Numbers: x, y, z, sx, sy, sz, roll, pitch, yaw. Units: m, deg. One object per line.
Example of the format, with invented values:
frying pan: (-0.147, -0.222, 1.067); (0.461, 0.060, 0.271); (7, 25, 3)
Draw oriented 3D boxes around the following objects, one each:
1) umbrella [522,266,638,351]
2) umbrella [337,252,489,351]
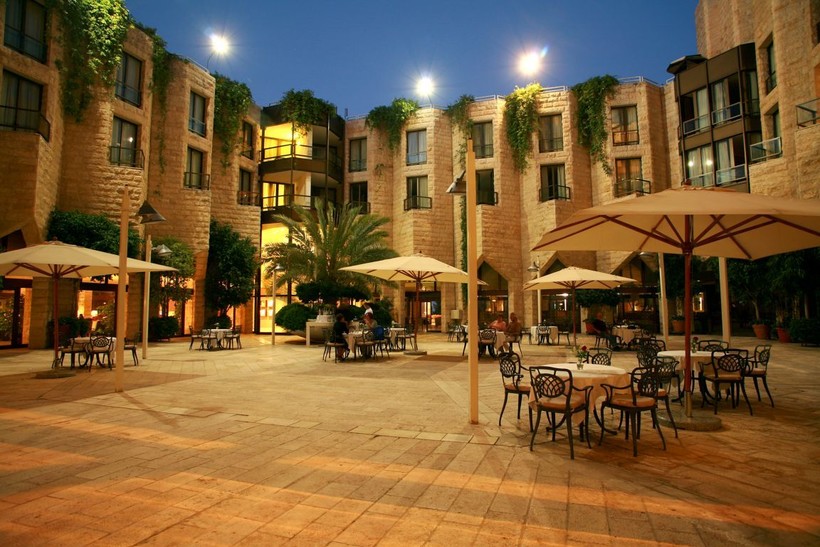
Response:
umbrella: (6.310, 1.587, 24.081); (4.361, 2.840, 3.962); (0, -9, -3)
umbrella: (0.125, 1.181, 27.472); (4.196, 2.808, 4.182); (4, -7, -13)
